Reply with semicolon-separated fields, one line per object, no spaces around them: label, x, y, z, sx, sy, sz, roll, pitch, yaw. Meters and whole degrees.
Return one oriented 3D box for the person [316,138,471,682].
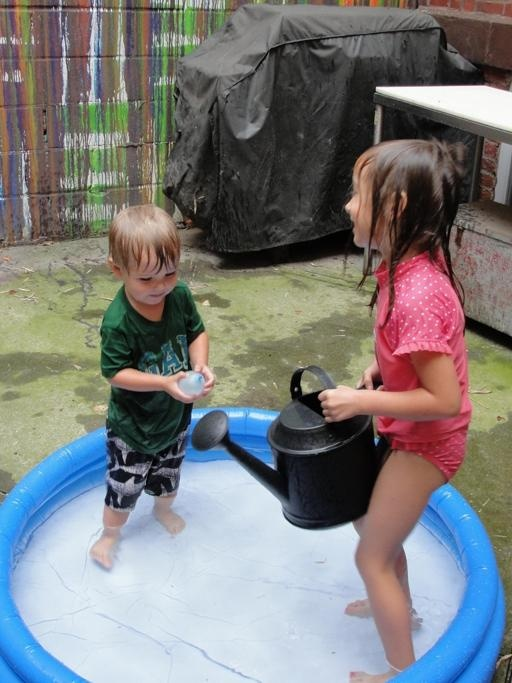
person;0.267;0.187;1.024;0.241;1.082;0.346;5;18;22
